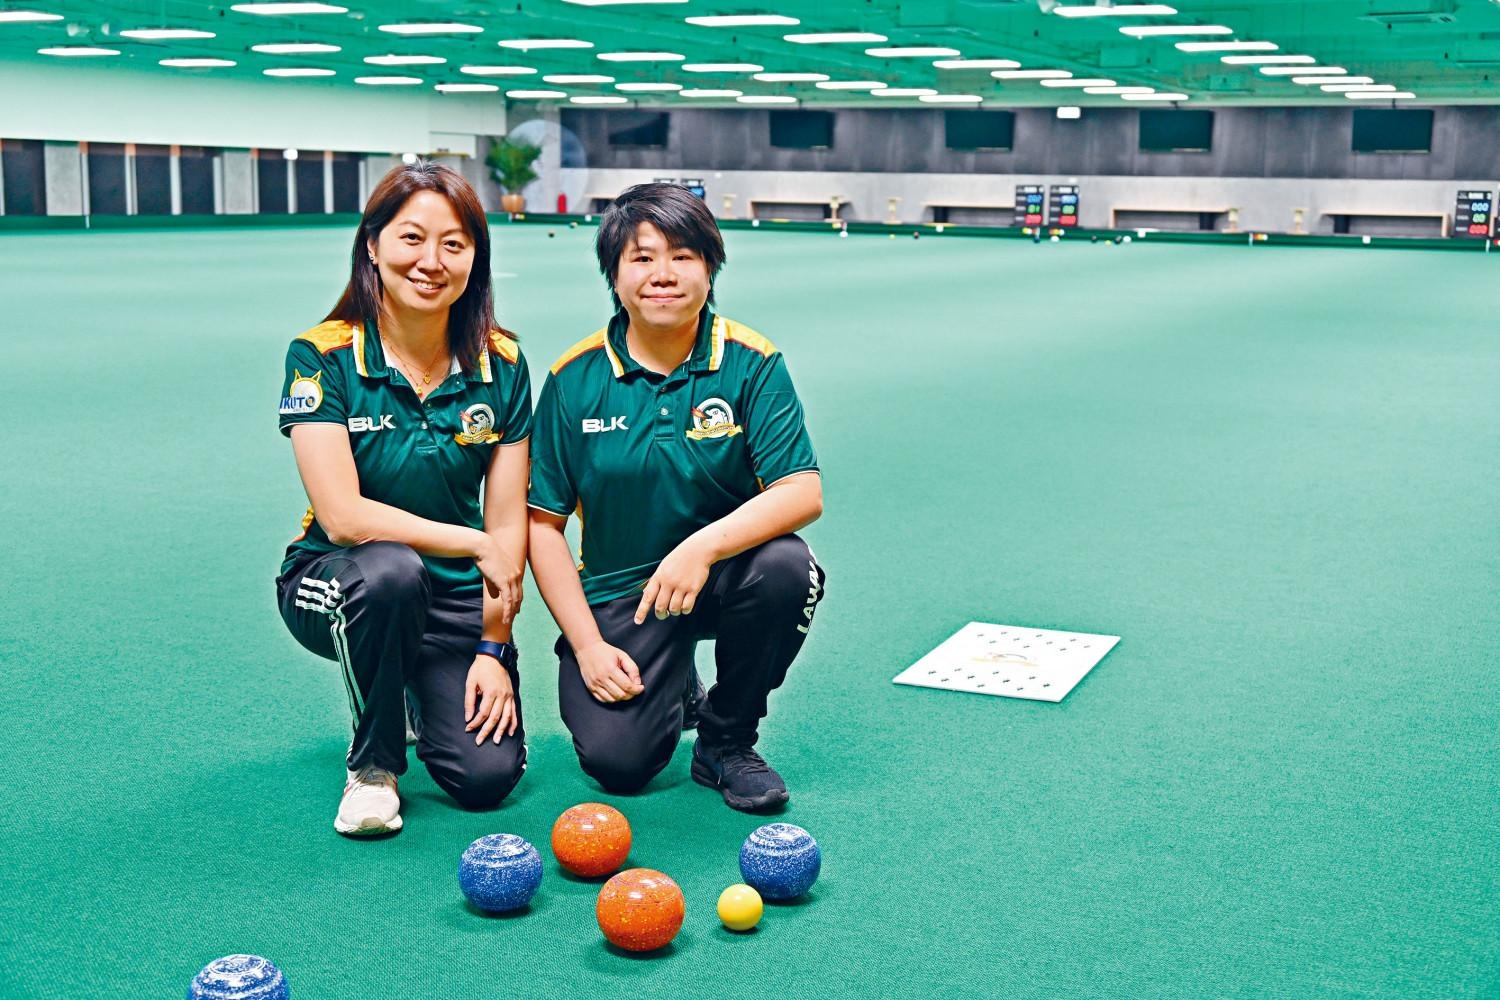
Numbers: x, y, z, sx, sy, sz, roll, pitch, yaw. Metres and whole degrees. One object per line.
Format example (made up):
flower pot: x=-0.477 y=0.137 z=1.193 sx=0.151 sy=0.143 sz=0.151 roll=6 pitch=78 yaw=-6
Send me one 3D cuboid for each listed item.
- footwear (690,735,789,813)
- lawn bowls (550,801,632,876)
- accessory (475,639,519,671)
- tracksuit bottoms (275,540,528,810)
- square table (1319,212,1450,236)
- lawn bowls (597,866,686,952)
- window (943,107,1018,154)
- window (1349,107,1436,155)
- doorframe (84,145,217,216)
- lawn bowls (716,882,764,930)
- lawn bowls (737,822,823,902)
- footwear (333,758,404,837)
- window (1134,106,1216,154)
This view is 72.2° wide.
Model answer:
footwear: x=-0.013 y=0.525 z=2.001 sx=0.082 sy=0.090 sz=0.217 roll=-3 pitch=2 yaw=-41
lawn bowls: x=-0.262 y=0.551 z=1.711 sx=0.123 sy=0.081 sz=0.118 roll=1 pitch=2 yaw=0
accessory: x=-0.483 y=0.290 z=1.979 sx=0.067 sy=0.054 sz=0.067 roll=17 pitch=-26 yaw=1
tracksuit bottoms: x=-0.648 y=0.304 z=1.942 sx=0.389 sy=0.498 sz=0.363 roll=-8 pitch=16 yaw=-24
square table: x=14.257 y=-6.270 z=23.215 sx=2.379 sy=0.495 sz=0.265 roll=6 pitch=17 yaw=26
lawn bowls: x=-0.159 y=0.606 z=1.515 sx=0.110 sy=0.093 sz=0.097 roll=9 pitch=17 yaw=33
window: x=5.905 y=-9.449 z=26.012 sx=1.307 sy=0.688 sz=0.174 roll=0 pitch=2 yaw=11
window: x=14.402 y=-8.311 z=23.110 sx=1.640 sy=0.977 sz=0.171 roll=3 pitch=16 yaw=13
doorframe: x=-11.923 y=-6.351 z=20.295 sx=0.294 sy=1.034 sz=2.103 roll=5 pitch=7 yaw=33
lawn bowls: x=-0.018 y=0.604 z=1.551 sx=0.072 sy=0.063 sz=0.065 roll=4 pitch=-5 yaw=-5
lawn bowls: x=0.048 y=0.578 z=1.633 sx=0.115 sy=0.104 sz=0.078 roll=-5 pitch=15 yaw=-17
footwear: x=-0.680 y=0.531 z=1.821 sx=0.106 sy=0.100 sz=0.100 roll=-6 pitch=16 yaw=-22
window: x=10.122 y=-8.846 z=24.508 sx=1.320 sy=0.311 sz=1.378 roll=3 pitch=-28 yaw=17
